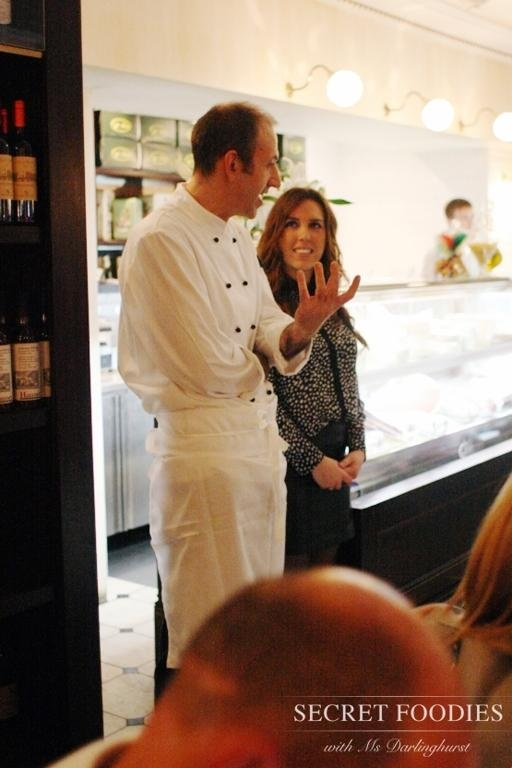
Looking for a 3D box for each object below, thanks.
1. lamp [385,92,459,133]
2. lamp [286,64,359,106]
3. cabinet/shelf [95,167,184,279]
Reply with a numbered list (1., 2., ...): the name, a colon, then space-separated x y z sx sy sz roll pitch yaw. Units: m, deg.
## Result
1. lamp: 1.104 -1.889 4.566 0.486 0.206 0.307 17 15 35
2. lamp: 0.460 -1.731 3.749 0.497 0.234 0.219 17 21 30
3. cabinet/shelf: -0.729 -1.071 4.267 0.712 0.617 0.380 0 -3 15
